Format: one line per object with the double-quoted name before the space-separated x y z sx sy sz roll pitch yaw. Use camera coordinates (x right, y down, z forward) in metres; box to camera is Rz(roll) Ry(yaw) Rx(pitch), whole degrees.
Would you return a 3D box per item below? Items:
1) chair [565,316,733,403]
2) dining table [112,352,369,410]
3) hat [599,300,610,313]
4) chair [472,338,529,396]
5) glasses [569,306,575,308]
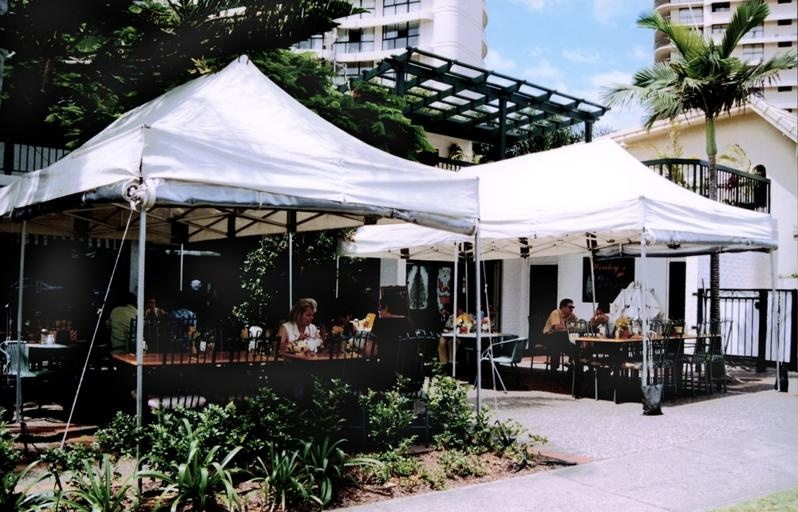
"chair" 5.294 2.287 18.389 3.426 1.473 1.967 4 -8 -31
"dining table" -2.417 2.018 14.021 4.068 0.798 1.365 1 -7 -12
"hat" 5.684 1.393 24.107 0.323 0.205 0.325 -4 -4 28
"chair" 2.152 2.332 18.640 1.229 1.346 1.179 1 -5 17
"glasses" 3.870 1.144 19.518 0.070 0.044 0.071 -8 -6 43
